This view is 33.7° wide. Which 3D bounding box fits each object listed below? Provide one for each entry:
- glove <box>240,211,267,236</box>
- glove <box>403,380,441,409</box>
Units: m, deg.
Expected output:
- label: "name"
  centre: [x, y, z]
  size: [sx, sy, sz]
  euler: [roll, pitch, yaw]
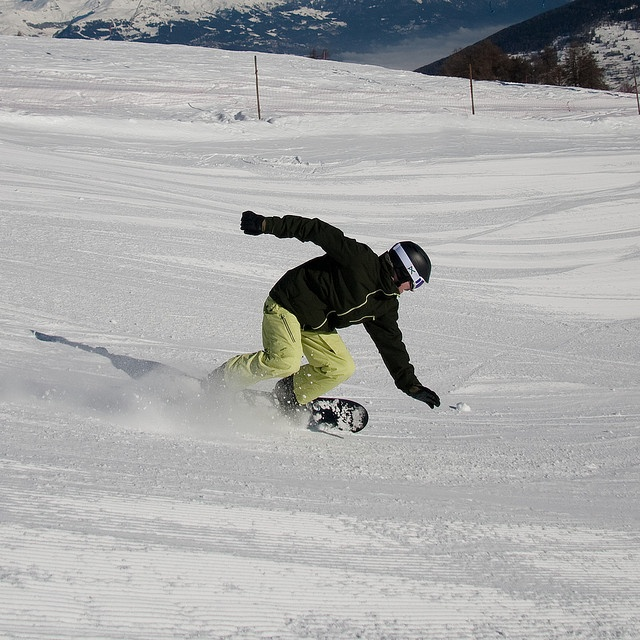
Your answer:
- label: "glove"
  centre: [-0.613, -0.861, 9.564]
  size: [0.213, 0.257, 0.333]
  euler: [-3, 21, -2]
- label: "glove"
  centre: [0.964, 0.706, 9.871]
  size: [0.371, 0.235, 0.170]
  euler: [16, 28, 38]
